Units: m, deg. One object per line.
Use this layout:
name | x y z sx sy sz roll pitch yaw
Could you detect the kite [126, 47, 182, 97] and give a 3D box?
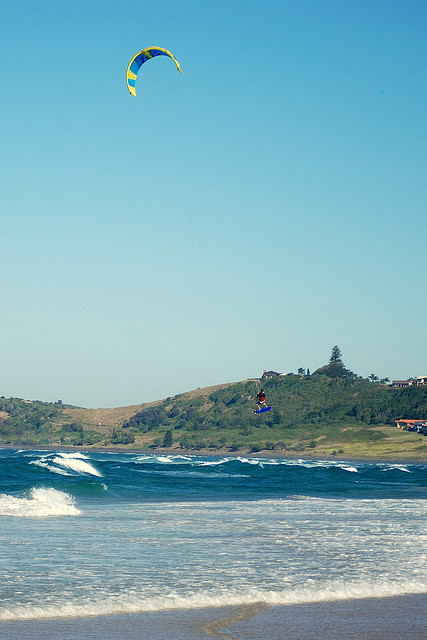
kite | -2.420 -9.619 42.013 0.963 1.742 3.750 -11 2 -21
